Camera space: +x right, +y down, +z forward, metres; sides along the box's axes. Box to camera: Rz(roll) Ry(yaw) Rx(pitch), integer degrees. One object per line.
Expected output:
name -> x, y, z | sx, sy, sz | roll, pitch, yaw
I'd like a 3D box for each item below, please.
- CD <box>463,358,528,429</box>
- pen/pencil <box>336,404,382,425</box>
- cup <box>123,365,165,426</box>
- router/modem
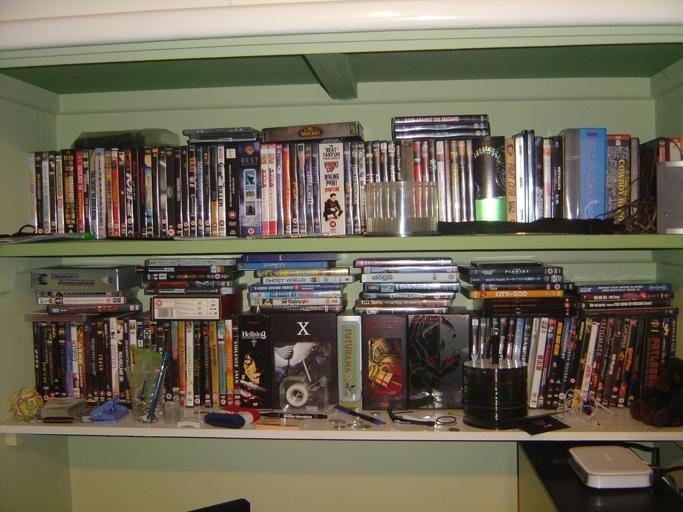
CD -> 0.472, 0.440, 2.101 | 0.200, 0.178, 0.214 | 5, 7, 3
pen/pencil -> 0.054, 0.512, 2.087 | 0.140, 0.019, 0.024 | 12, 12, 35
cup -> -0.647, 0.448, 2.134 | 0.120, 0.182, 0.084 | 3, 12, 0
router/modem -> 0.787, 0.635, 1.936 | 0.235, 0.051, 0.213 | 15, 12, 42
